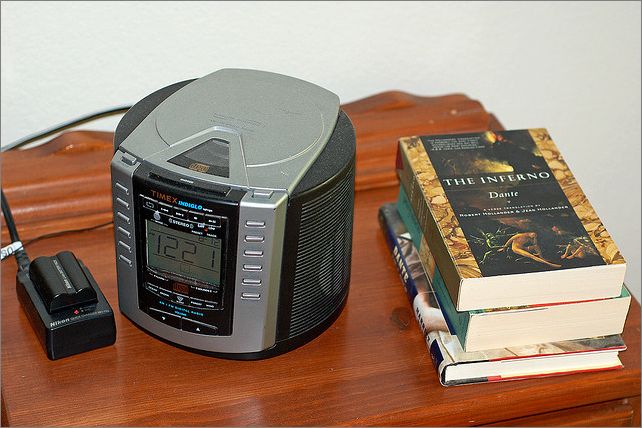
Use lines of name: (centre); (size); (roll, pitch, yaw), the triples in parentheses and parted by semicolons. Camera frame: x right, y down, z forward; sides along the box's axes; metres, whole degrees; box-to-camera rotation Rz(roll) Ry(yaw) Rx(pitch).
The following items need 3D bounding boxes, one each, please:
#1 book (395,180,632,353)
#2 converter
book: (0.270, 0.070, 0.870); (0.326, 0.105, 0.421); (-4, 29, -2)
converter: (-0.342, 0.109, 0.776); (0.106, 0.073, 0.152); (-8, 36, -28)
